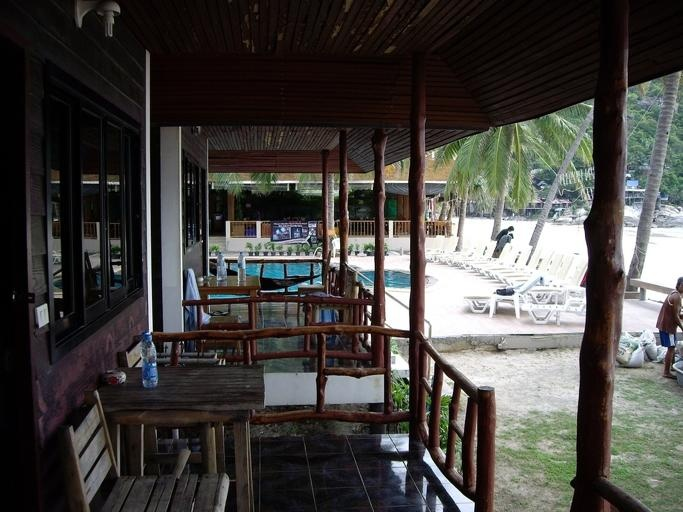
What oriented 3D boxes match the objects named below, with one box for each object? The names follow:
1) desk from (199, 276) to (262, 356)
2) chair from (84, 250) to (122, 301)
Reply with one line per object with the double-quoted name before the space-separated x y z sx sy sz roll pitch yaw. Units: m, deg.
"desk" -1.356 0.948 6.427 0.886 1.216 1.247 0 1 -13
"chair" -1.810 0.124 3.861 0.199 0.382 0.946 -4 10 -19
